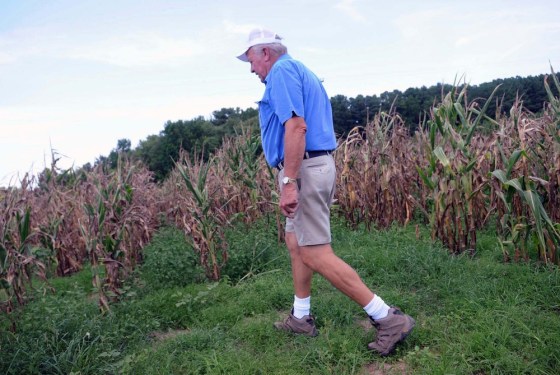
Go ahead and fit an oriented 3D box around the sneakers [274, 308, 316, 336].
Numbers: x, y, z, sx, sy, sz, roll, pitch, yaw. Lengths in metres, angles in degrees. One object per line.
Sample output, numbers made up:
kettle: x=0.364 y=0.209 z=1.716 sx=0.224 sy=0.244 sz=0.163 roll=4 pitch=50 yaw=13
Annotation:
sneakers: x=0.157 y=1.584 z=4.604 sx=0.593 sy=0.292 sz=0.212 roll=-7 pitch=1 yaw=35
